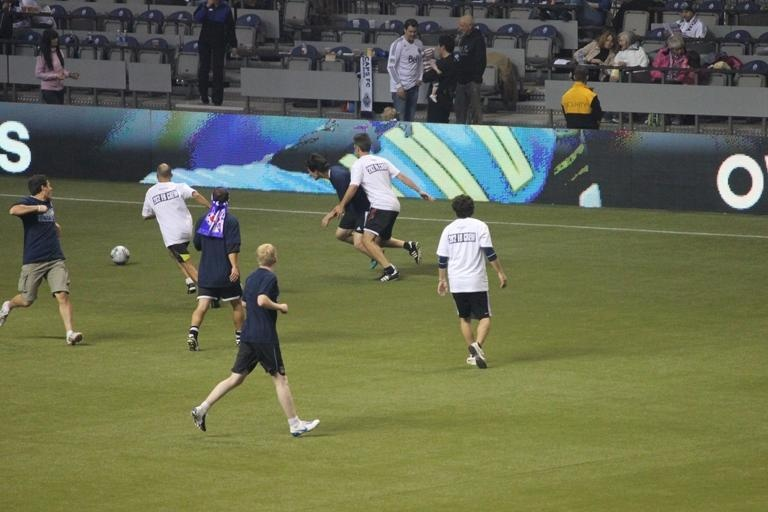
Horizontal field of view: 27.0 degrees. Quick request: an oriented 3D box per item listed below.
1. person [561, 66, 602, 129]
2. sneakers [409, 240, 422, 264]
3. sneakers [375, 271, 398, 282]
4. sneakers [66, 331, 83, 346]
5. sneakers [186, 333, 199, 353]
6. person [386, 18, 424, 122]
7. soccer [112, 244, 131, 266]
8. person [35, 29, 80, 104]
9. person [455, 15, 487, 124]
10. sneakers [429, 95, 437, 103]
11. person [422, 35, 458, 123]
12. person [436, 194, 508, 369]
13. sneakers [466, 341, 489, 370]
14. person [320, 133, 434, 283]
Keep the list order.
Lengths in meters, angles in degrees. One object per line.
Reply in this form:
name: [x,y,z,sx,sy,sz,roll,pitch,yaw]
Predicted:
person: [4.572,-3.646,36.953,0.928,1.509,1.586,4,12,6]
sneakers: [0.592,-0.070,32.679,0.279,0.508,0.185,-17,35,7]
sneakers: [0.019,0.407,32.306,0.476,0.173,0.150,-4,5,14]
sneakers: [-5.541,1.444,28.560,0.165,0.188,0.389,-6,6,-11]
sneakers: [-3.412,1.537,28.398,0.144,0.171,0.386,-2,-28,8]
person: [0.509,-4.514,39.162,0.886,2.484,0.559,0,12,-10]
soccer: [-5.513,-0.027,33.342,0.343,0.369,0.298,0,12,-10]
person: [-8.451,-4.804,40.893,0.949,1.933,1.268,0,12,-11]
person: [2.099,-4.497,39.002,0.677,2.608,0.795,3,12,2]
sneakers: [1.211,-3.848,39.285,0.161,0.227,0.076,-34,13,28]
person: [1.352,-4.303,39.060,0.891,2.117,0.767,11,15,34]
person: [1.449,0.438,27.819,1.066,2.948,0.627,10,14,30]
sneakers: [1.552,1.696,27.784,0.236,0.593,0.267,-13,36,34]
person: [-0.117,-0.981,32.174,1.599,2.930,0.978,1,12,-6]
